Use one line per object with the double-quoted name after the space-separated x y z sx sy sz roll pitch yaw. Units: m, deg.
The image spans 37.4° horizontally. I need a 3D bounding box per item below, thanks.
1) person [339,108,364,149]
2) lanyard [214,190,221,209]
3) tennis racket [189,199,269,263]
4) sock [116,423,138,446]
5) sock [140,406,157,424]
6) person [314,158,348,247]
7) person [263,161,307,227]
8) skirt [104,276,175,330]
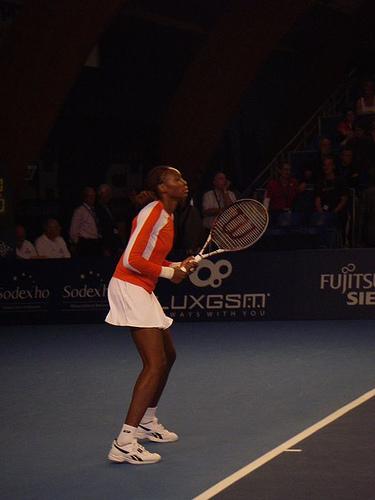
2.786 -2.030 9.445 0.401 0.720 0.566 6 0 11 "person"
0.469 -0.808 8.951 0.020 0.331 0.050 -27 -33 28 "lanyard"
0.302 -0.132 3.644 0.403 0.447 0.857 5 0 8 "tennis racket"
-0.329 0.983 2.945 0.104 0.119 0.069 5 0 1 "sock"
-0.238 1.008 3.357 0.086 0.104 0.095 5 0 -11 "sock"
2.305 -0.765 8.787 0.332 1.417 0.579 6 0 -34 "person"
1.525 -0.747 8.924 0.857 1.304 0.757 -2 4 -9 "person"
-0.270 0.286 3.181 0.339 0.363 0.409 0 0 26 "skirt"
